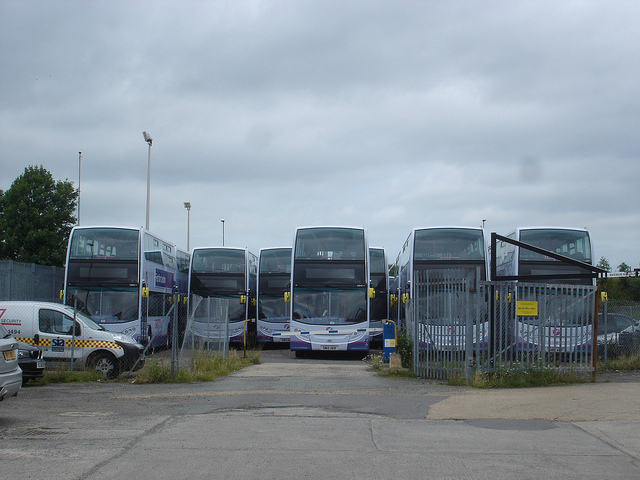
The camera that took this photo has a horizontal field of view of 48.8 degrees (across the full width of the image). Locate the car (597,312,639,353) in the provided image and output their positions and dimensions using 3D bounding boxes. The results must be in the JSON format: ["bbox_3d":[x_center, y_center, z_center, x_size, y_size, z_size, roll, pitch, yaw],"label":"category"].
[{"bbox_3d":[11.395,3.569,27.025,1.535,1.240,3.463,-3,-10,27],"label":"car"}]

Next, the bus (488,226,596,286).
[{"bbox_3d":[7.657,0.584,23.837,1.778,2.123,4.683,0,-2,-7],"label":"bus"}]

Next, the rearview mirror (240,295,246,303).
[{"bbox_3d":[-3.753,2.868,34.594,0.282,0.564,0.288,0,-7,-5],"label":"rearview mirror"}]

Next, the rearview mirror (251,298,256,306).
[{"bbox_3d":[-3.310,3.111,35.194,0.232,0.384,0.239,1,-3,2],"label":"rearview mirror"}]

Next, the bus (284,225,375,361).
[{"bbox_3d":[0.442,2.223,29.049,3.167,5.562,2.128,0,-2,3],"label":"bus"}]

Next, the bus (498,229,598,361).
[{"bbox_3d":[7.709,1.429,23.437,3.437,4.146,12.368,-1,-3,14],"label":"bus"}]

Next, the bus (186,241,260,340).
[{"bbox_3d":[-4.545,2.559,33.631,3.163,4.553,11.791,0,-3,-3],"label":"bus"}]

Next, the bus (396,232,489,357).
[{"bbox_3d":[4.213,2.882,24.476,2.152,3.962,10.587,-1,-18,7],"label":"bus"}]

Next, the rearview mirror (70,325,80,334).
[{"bbox_3d":[-7.165,2.616,20.524,0.286,0.228,0.250,-2,-3,37],"label":"rearview mirror"}]

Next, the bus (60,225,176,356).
[{"bbox_3d":[-8.348,2.500,32.331,3.354,5.344,10.310,0,-7,-1],"label":"bus"}]
